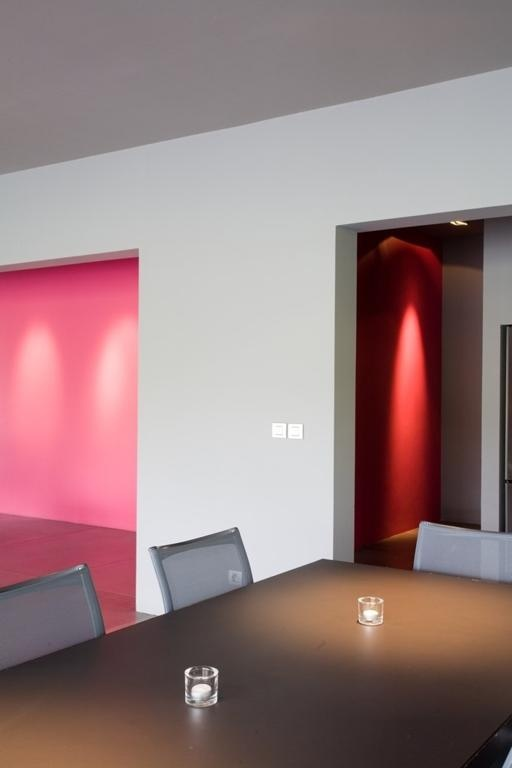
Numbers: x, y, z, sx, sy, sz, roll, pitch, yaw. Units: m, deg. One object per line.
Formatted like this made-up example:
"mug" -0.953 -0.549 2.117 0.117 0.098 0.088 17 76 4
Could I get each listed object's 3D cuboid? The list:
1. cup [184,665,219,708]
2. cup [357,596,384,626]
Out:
"cup" -0.105 0.577 1.131 0.063 0.056 0.096 2 -7 -2
"cup" 0.332 0.649 1.710 0.076 0.069 0.073 -1 4 0
